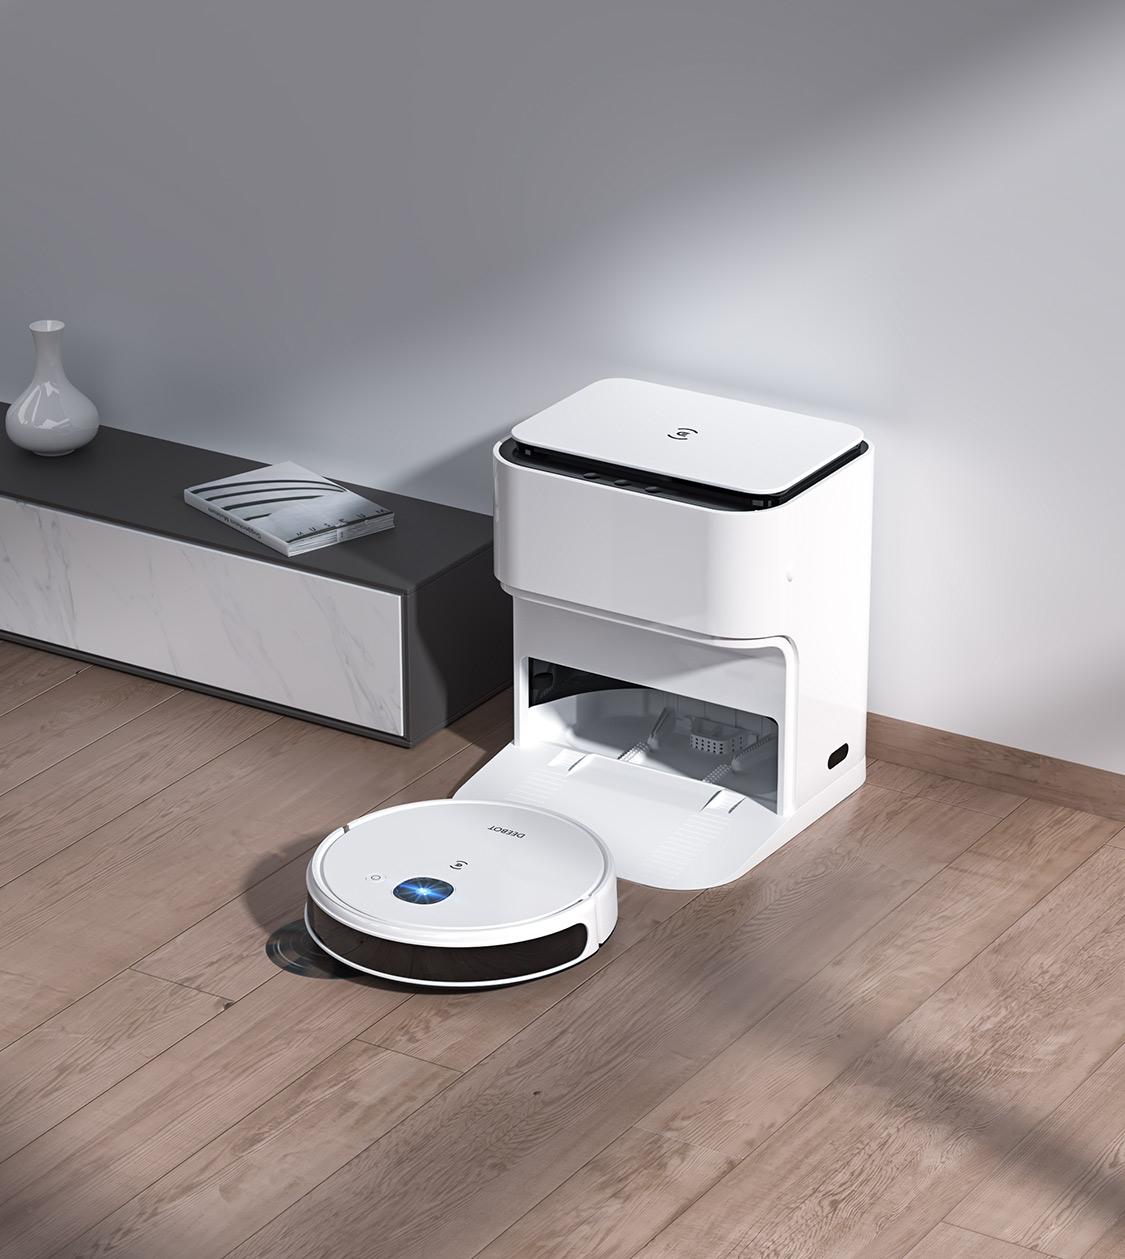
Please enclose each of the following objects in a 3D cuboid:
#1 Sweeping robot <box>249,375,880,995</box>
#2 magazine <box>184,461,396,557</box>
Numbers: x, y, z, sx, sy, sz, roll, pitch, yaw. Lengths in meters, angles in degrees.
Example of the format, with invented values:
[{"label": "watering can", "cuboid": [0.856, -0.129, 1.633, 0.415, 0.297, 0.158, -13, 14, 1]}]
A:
[{"label": "Sweeping robot", "cuboid": [-0.011, 0.084, 1.839, 0.530, 0.554, 0.972, 14, 26, 37]}, {"label": "magazine", "cuboid": [-0.511, -0.222, 2.363, 0.261, 0.036, 0.319, -20, 39, -34]}]
